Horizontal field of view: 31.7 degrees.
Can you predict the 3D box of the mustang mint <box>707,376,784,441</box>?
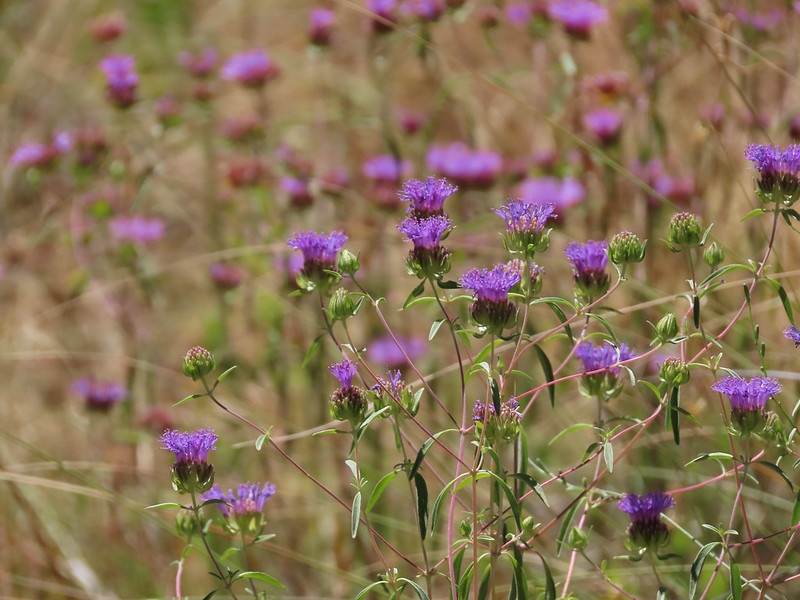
[{"bbox_3d":[1.048,0.310,4.340,0.155,0.191,0.182,1,9,4],"label":"mustang mint"}]
